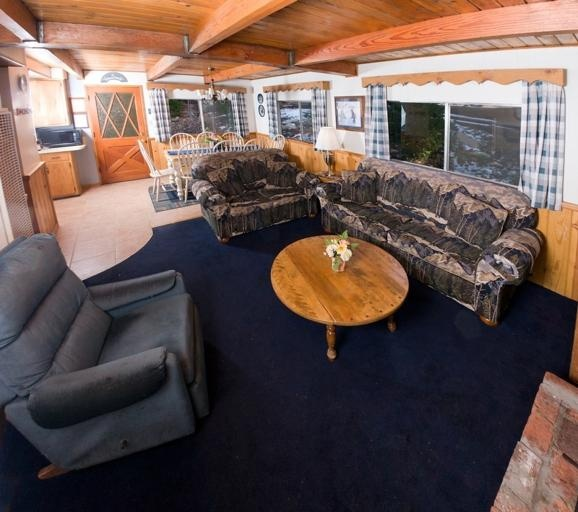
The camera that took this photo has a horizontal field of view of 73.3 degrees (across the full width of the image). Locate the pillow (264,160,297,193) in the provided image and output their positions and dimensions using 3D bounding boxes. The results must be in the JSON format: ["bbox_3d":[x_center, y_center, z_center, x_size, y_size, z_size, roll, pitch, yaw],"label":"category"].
[{"bbox_3d":[-0.107,-1.210,5.894,0.429,0.400,0.188,-5,4,-2],"label":"pillow"}]

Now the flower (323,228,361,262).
[{"bbox_3d":[0.478,-0.066,3.391,0.301,0.162,0.284,23,63,21],"label":"flower"}]

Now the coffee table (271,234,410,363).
[{"bbox_3d":[0.435,0.244,3.168,1.095,0.439,1.109,-15,42,-14],"label":"coffee table"}]

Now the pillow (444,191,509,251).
[{"bbox_3d":[1.803,-0.319,3.660,0.164,0.443,0.642,7,9,-33],"label":"pillow"}]
